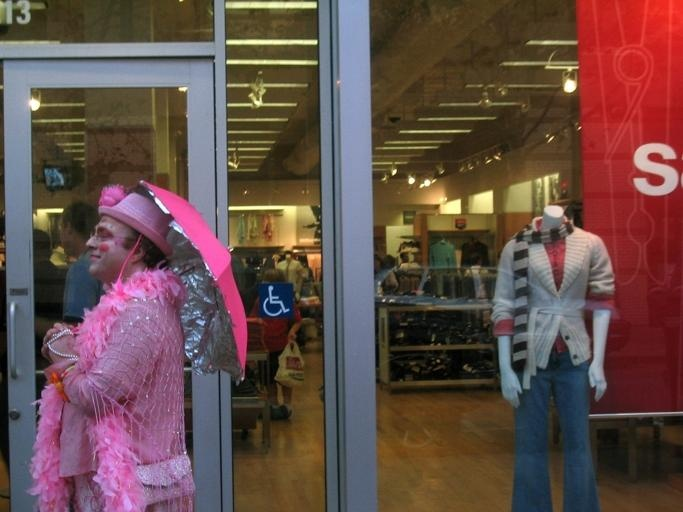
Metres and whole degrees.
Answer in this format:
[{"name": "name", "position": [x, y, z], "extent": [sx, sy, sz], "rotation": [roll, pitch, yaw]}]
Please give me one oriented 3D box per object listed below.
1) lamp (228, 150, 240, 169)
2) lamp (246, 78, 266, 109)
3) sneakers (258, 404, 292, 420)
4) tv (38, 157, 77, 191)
[{"name": "lamp", "position": [-0.666, -0.589, 4.813], "extent": [0.078, 0.111, 0.026], "rotation": [-1, 4, -9]}, {"name": "lamp", "position": [-0.531, -1.009, 4.852], "extent": [0.115, 0.170, 0.085], "rotation": [-1, 6, 17]}, {"name": "sneakers", "position": [-0.413, 0.963, 4.816], "extent": [0.213, 0.095, 0.079], "rotation": [3, -5, -7]}, {"name": "tv", "position": [-1.744, -0.498, 4.857], "extent": [0.223, 0.186, 0.021], "rotation": [-2, -3, -4]}]
